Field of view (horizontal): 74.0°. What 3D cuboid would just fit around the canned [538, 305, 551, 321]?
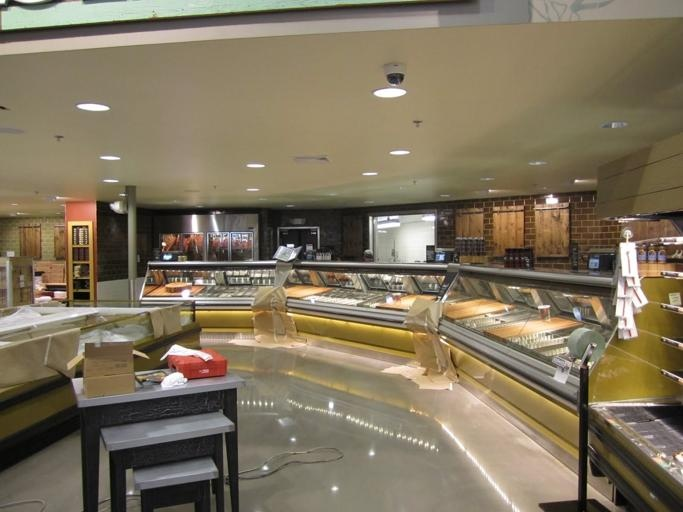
[{"bbox_3d":[1.815,0.503,4.003,0.109,0.105,0.107,1,-5,-6],"label":"canned"}]

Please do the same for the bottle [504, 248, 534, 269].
[{"bbox_3d":[2.265,0.028,5.728,0.341,0.248,0.341,1,-2,0],"label":"bottle"}]

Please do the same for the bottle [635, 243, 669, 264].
[{"bbox_3d":[3.186,-0.021,4.588,0.203,0.145,0.200,0,4,0],"label":"bottle"}]

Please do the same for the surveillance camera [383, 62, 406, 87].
[{"bbox_3d":[0.381,-1.307,3.228,0.109,0.103,0.123,-1,7,-6],"label":"surveillance camera"}]

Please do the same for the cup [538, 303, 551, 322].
[{"bbox_3d":[1.816,0.499,4.000,0.115,0.126,0.129,-5,8,-36],"label":"cup"}]
